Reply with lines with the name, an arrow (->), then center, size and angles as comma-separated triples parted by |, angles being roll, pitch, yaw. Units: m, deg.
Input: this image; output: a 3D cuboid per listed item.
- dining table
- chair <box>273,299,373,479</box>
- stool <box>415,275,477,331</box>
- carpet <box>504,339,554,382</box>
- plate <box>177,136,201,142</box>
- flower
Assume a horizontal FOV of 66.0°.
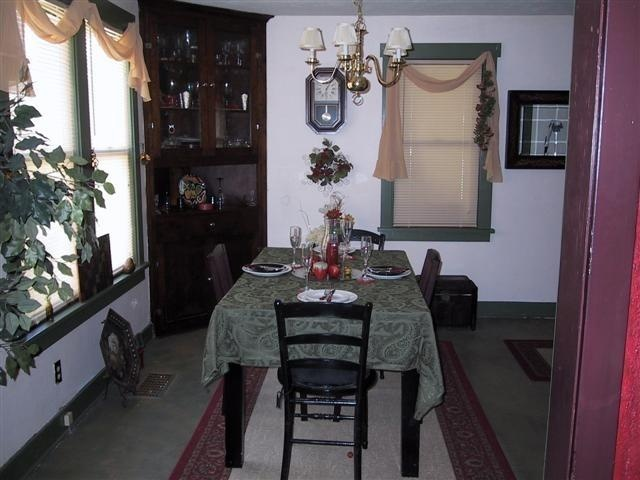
dining table -> 0.051, 0.596, 2.998 | 0.780, 0.607, 1.435 | 0, 9, 6
chair -> 0.018, 0.732, 2.579 | 0.504, 1.032, 0.644 | 2, 11, 6
stool -> 1.384, 0.666, 4.789 | 0.662, 0.424, 0.699 | 1, -5, -8
carpet -> 1.708, 0.973, 4.012 | 0.333, 0.408, 0.016 | 0, 10, 23
plate -> -1.155, -0.881, 4.348 | 0.179, 0.081, 0.033 | -1, 11, -6
flower -> 0.067, -0.562, 4.597 | 0.390, 0.763, 0.417 | 1, 8, 39
